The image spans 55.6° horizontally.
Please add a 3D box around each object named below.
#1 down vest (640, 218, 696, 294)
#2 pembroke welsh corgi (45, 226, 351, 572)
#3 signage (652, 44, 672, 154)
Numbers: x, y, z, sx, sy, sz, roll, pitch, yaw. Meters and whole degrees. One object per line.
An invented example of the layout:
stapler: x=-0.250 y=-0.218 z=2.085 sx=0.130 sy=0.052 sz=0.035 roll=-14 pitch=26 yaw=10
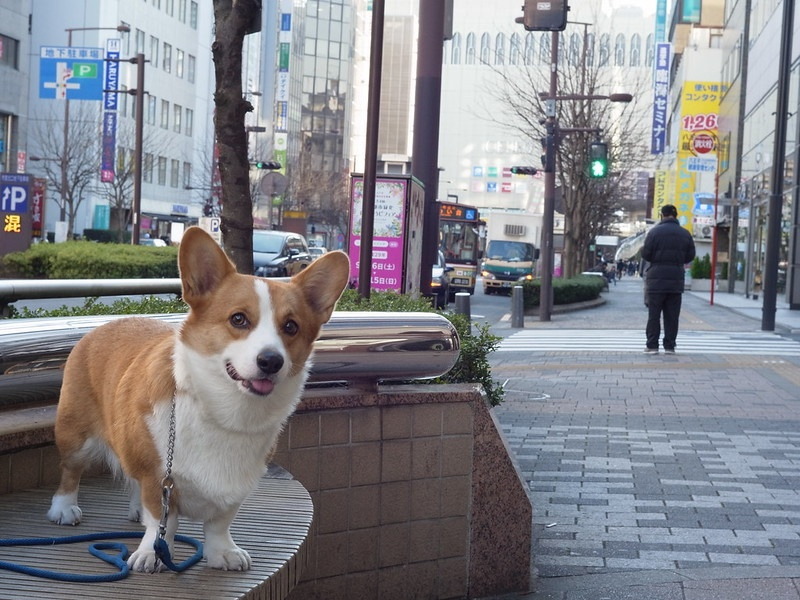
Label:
down vest: x=4.265 y=-0.697 z=12.134 sx=0.787 sy=1.176 sz=0.506 roll=4 pitch=8 yaw=17
pembroke welsh corgi: x=-0.713 y=0.338 z=2.441 sx=0.512 sy=0.943 sz=1.251 roll=7 pitch=-5 yaw=-41
signage: x=21.767 y=-16.804 z=63.905 sx=1.234 sy=11.668 sz=1.572 roll=7 pitch=-19 yaw=6
